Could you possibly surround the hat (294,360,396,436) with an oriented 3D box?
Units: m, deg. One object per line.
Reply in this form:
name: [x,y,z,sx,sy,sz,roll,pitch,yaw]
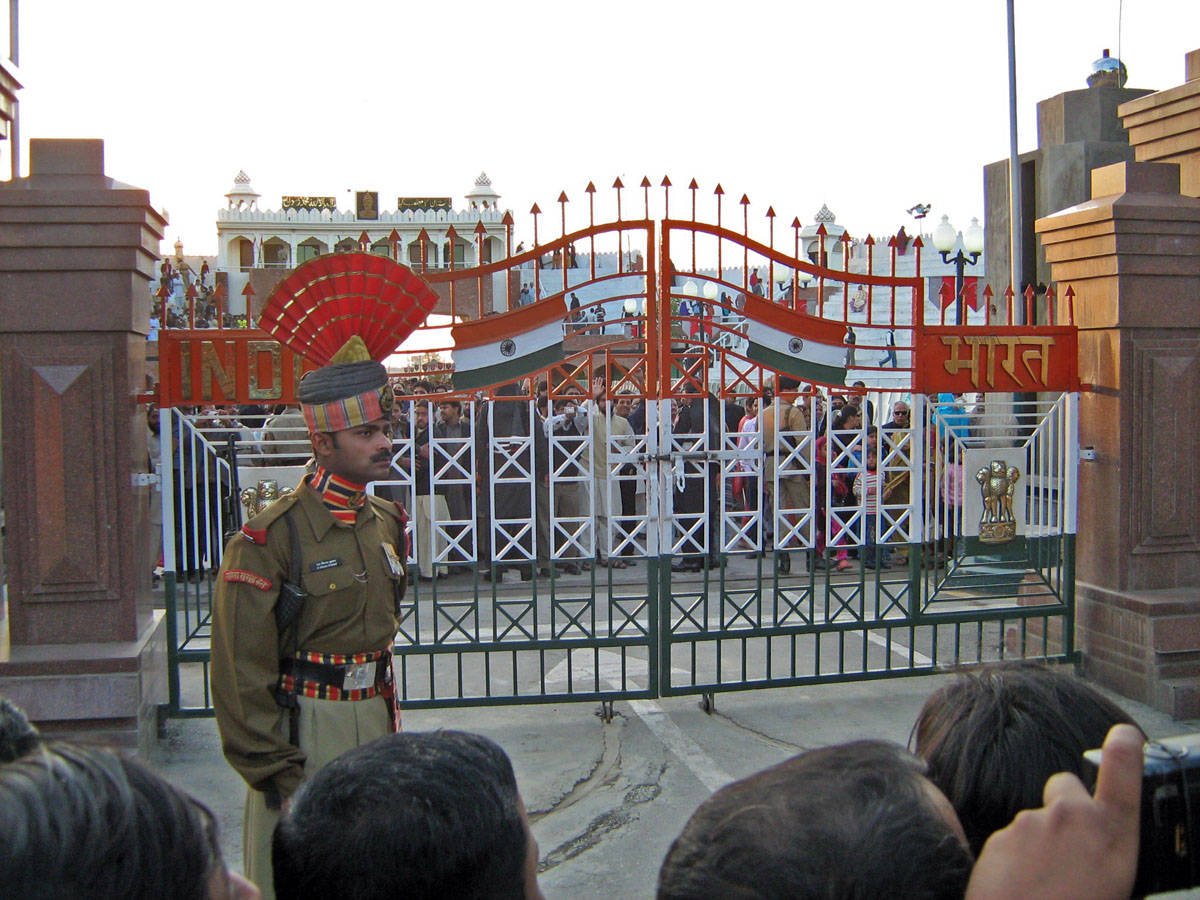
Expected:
hat: [-1.006,-0.184,6.148,0.295,0.248,0.288,-8,4,-44]
